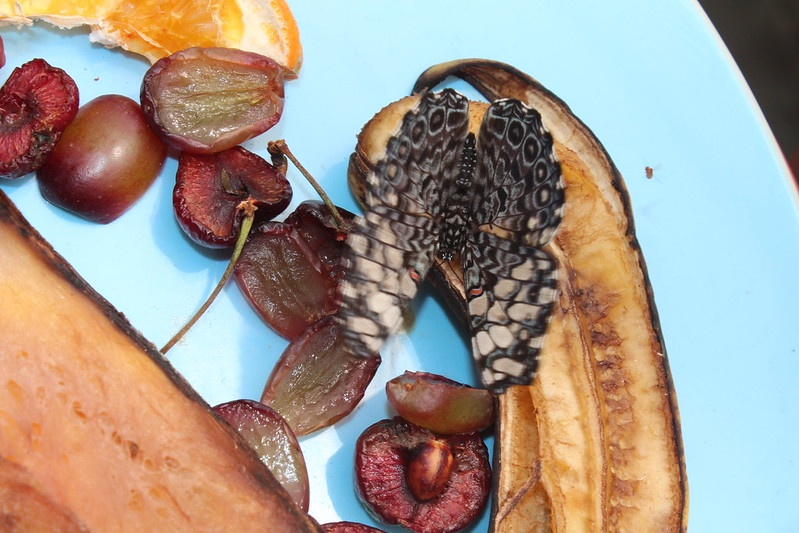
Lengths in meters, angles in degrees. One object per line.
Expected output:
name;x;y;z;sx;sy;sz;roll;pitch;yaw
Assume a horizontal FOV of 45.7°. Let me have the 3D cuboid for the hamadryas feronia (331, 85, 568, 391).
hamadryas feronia;0.131;-0.090;1.962;0.432;0.665;0.231;10;12;7
